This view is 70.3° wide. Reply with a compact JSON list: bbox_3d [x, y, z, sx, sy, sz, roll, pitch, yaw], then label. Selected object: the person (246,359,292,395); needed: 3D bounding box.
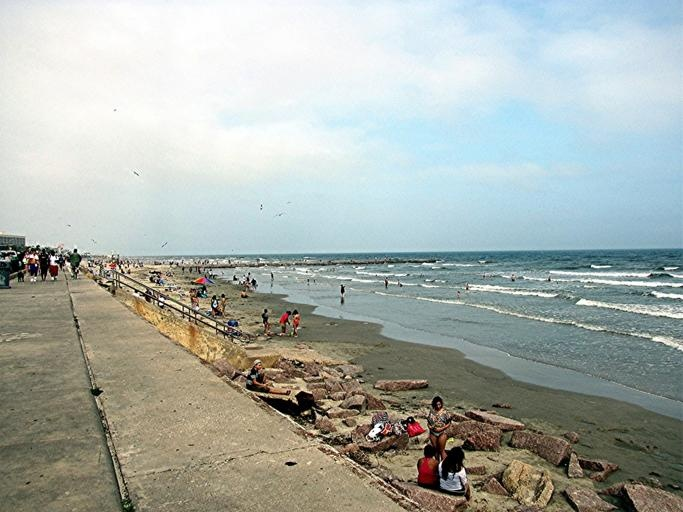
[{"bbox_3d":[-2.009,3.178,12.482,1.267,0.824,0.643,11,2,1],"label":"person"}]
